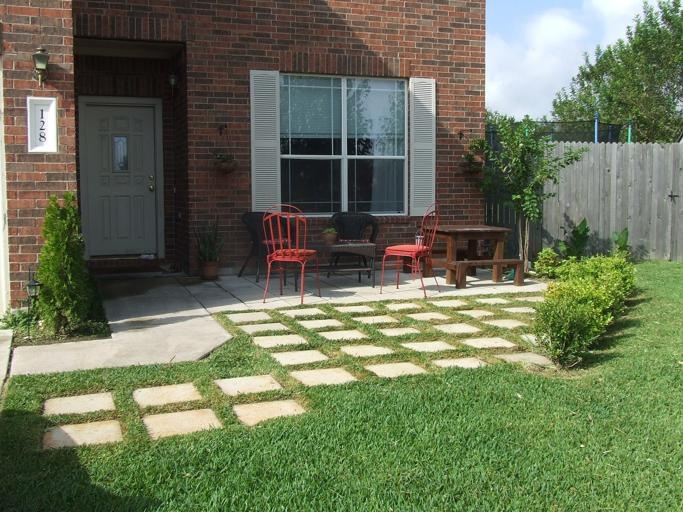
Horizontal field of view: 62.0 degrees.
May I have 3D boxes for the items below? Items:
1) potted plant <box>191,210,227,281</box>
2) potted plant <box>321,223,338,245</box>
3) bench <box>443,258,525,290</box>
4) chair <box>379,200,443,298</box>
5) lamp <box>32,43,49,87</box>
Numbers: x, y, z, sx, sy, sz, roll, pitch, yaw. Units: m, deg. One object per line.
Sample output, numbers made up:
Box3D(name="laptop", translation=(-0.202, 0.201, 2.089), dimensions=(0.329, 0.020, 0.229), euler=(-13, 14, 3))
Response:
Box3D(name="potted plant", translation=(-2.144, -0.140, 9.135), dimensions=(0.448, 0.967, 0.545), euler=(-2, 8, -15))
Box3D(name="potted plant", translation=(-0.205, -0.356, 9.427), dimensions=(0.296, 0.360, 0.319), euler=(1, -3, -5))
Box3D(name="bench", translation=(2.162, 0.244, 8.527), dimensions=(1.232, 0.389, 0.450), euler=(-2, 8, -17))
Box3D(name="chair", translation=(1.056, -0.173, 8.778), dimensions=(0.852, 1.183, 2.740), euler=(1, 8, 8))
Box3D(name="lamp", translation=(-3.235, -2.050, 6.120), dimensions=(0.148, 0.408, 0.191), euler=(-4, 8, -29))
